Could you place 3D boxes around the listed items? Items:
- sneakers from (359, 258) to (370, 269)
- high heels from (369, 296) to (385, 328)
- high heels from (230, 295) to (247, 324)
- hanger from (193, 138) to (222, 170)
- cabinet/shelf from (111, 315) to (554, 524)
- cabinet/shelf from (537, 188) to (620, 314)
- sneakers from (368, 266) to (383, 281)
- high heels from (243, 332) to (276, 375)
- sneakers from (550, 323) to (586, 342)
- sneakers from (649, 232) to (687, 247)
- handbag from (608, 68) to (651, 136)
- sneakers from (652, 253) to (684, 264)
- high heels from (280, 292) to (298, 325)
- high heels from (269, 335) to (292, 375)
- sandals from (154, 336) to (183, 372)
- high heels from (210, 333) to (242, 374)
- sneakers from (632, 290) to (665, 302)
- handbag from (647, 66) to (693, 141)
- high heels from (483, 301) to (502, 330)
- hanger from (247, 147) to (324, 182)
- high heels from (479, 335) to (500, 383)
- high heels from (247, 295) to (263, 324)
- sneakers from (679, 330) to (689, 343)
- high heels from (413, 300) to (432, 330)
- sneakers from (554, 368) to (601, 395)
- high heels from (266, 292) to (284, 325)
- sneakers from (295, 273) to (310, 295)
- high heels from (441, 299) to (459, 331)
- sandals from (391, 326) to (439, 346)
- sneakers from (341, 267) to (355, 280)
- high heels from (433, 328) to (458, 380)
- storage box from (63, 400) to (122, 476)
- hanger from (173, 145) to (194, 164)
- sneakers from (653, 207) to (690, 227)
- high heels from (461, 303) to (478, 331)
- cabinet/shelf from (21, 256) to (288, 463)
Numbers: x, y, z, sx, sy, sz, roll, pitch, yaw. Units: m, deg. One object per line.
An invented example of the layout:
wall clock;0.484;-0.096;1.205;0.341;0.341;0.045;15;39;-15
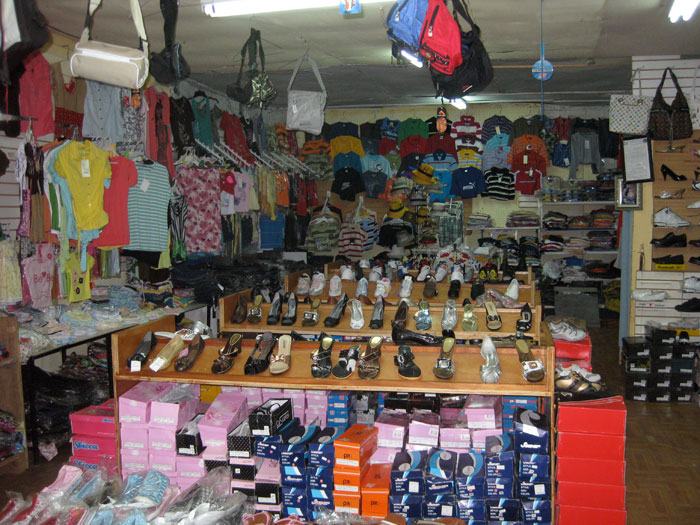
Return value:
sneakers;0.173;0.006;6.987;0.132;0.074;0.216;-1;2;-2
high heels;0.241;0.433;5.035;0.085;0.078;0.311;-2;38;17
high heels;-1.052;0.440;5.365;0.105;0.279;0.084;2;-35;0
hanger;-1.633;-1.235;6.496;0.285;0.209;0.713;27;3;-13
cabinet/shelf;-0.111;0.992;4.009;2.915;1.060;0.872;1;3;18
cabinet/shelf;3.805;-0.252;9.529;1.371;2.087;1.148;1;3;1
sneakers;0.281;0.121;6.294;0.139;0.151;0.399;-1;3;7
high heels;-0.631;0.635;4.046;0.114;0.081;0.305;-5;29;16
sneakers;1.944;0.608;5.113;0.311;0.142;0.259;2;3;19
sneakers;3.771;-0.274;6.796;0.415;0.169;0.161;2;5;14
handbag;3.269;-1.703;6.656;0.468;0.444;0.104;0;3;-2
sneakers;3.753;-0.046;6.803;0.346;0.127;0.124;4;3;14
high heels;-0.568;0.436;5.241;0.108;0.116;0.308;-1;25;6
high heels;-0.487;0.632;4.008;0.103;0.075;0.294;-6;39;10
sandals;-1.299;0.642;4.090;0.107;0.117;0.312;20;34;10
high heels;-0.887;0.638;4.070;0.113;0.113;0.313;7;33;19
sneakers;3.496;0.362;6.703;0.250;0.095;0.147;5;4;18
handbag;3.720;-1.822;6.636;0.465;0.847;0.250;2;3;25
high heels;1.219;0.450;4.868;0.091;0.077;0.288;-4;21;5
hanger;-0.904;-1.343;7.919;0.286;0.247;0.957;7;0;32
high heels;0.927;0.625;3.787;0.127;0.284;0.116;-6;-15;21
high heels;-0.884;0.443;5.377;0.116;0.286;0.077;-4;-34;15
sneakers;3.572;0.785;6.127;0.082;0.048;0.144;-2;23;23
high heels;0.619;0.455;4.922;0.135;0.095;0.368;-2;15;7
sneakers;1.661;0.843;4.151;0.362;0.146;0.140;0;7;18
high heels;-0.690;0.424;5.319;0.089;0.324;0.058;-8;-38;26
sneakers;-0.497;0.218;6.012;0.100;0.092;0.264;2;23;3
high heels;0.848;0.434;4.866;0.112;0.122;0.320;-1;29;14
sandals;0.486;0.557;4.408;0.397;0.147;0.128;-1;1;10
sneakers;-0.010;0.125;6.233;0.136;0.127;0.139;3;33;9
high heels;0.639;0.633;3.880;0.136;0.229;0.318;1;3;9
storage box;-1.847;1.236;4.275;0.513;0.475;0.345;1;4;-2
hanger;-1.816;-1.167;6.309;0.214;0.201;0.108;-1;3;-25
sneakers;3.759;-0.526;6.693;0.353;0.207;0.120;1;3;0
high heels;1.009;0.448;4.853;0.092;0.096;0.248;-3;33;9
cabinet/shelf;-1.908;0.294;6.960;1.471;1.615;4.112;2;9;21
